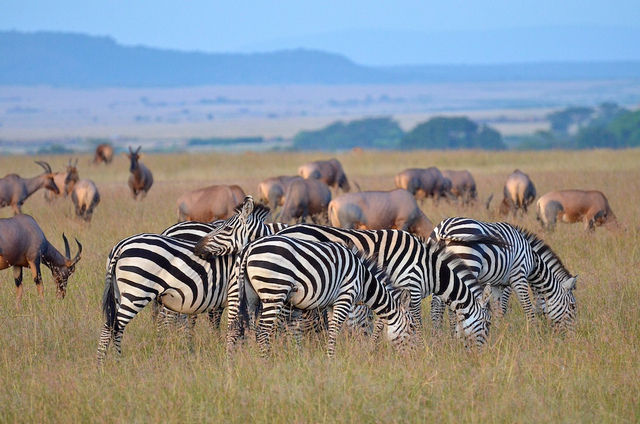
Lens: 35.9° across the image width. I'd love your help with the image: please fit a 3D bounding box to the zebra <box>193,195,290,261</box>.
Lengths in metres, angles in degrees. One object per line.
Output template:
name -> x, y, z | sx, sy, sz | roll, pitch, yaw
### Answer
zebra -> -2.630, 0.567, 31.436 | 2.010, 1.479, 0.648 | -26, 32, -2
